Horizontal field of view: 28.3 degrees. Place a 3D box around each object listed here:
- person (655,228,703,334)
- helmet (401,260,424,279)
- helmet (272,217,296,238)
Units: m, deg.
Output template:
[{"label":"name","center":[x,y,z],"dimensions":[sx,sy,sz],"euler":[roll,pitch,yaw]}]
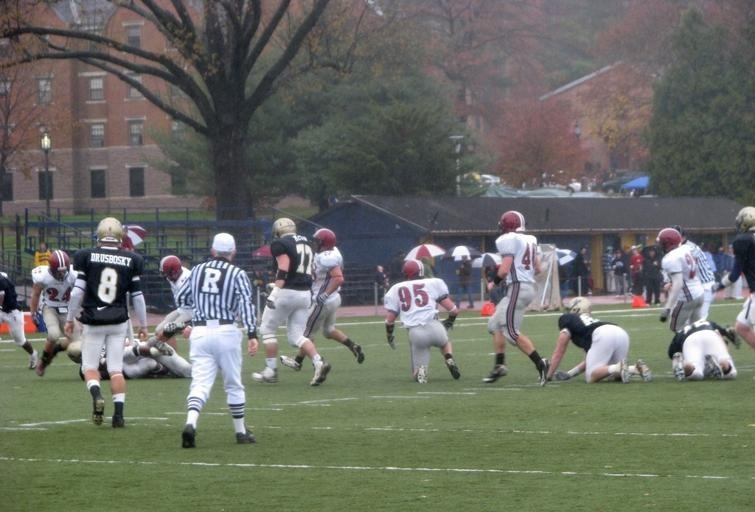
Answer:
[{"label":"person","center":[8.234,0.648,41.010],"dimensions":[1.237,2.734,1.176],"euler":[1,0,-2]},{"label":"helmet","center":[0.944,0.366,40.475],"dimensions":[0.570,0.396,0.472],"euler":[-18,-34,6]},{"label":"helmet","center":[-2.570,-0.801,40.801],"dimensions":[0.517,0.508,0.584],"euler":[-5,15,-27]}]
